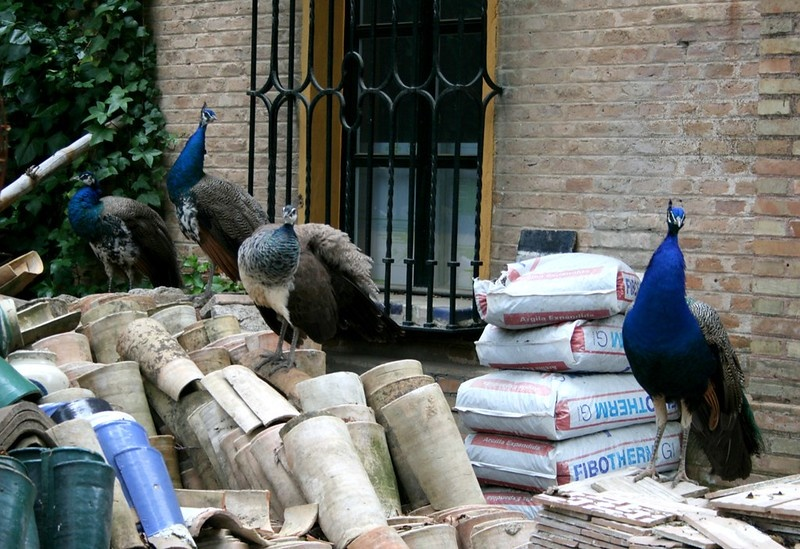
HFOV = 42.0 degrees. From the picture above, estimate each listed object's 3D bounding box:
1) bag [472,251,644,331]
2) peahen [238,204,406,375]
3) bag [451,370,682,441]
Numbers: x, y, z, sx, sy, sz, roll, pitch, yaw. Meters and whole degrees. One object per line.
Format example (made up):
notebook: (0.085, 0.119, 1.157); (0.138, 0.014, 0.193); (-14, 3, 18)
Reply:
bag: (0.989, 0.111, 6.592); (0.620, 0.307, 0.653); (0, -4, -17)
peahen: (-0.441, 0.024, 6.847); (0.972, 1.003, 0.551); (2, 11, -26)
bag: (0.984, 0.806, 7.034); (1.035, 0.433, 1.302); (0, 8, 23)
